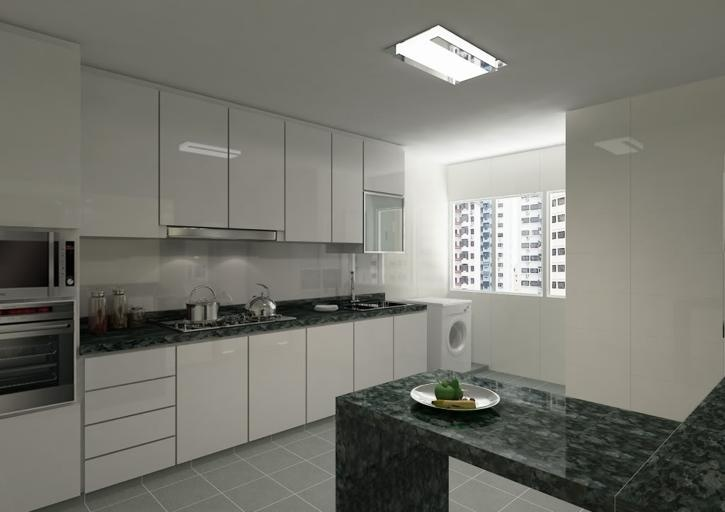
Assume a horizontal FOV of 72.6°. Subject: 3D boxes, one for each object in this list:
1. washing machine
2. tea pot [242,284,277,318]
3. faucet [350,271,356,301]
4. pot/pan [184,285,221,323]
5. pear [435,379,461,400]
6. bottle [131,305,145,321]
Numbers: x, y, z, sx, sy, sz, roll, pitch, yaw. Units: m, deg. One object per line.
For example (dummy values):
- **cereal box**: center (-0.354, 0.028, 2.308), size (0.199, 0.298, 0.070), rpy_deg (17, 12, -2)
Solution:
- **washing machine**: center (1.002, 0.973, 6.412), size (0.841, 1.189, 0.869), rpy_deg (-3, -3, 41)
- **tea pot**: center (-0.952, 0.438, 4.648), size (0.220, 0.311, 0.316), rpy_deg (3, 2, 44)
- **faucet**: center (-0.125, 0.359, 5.862), size (0.065, 0.365, 0.093), rpy_deg (2, 9, 13)
- **pot/pan**: center (-1.447, 0.442, 4.437), size (0.249, 0.336, 0.305), rpy_deg (-2, -1, -25)
- **pear**: center (0.446, 0.703, 2.627), size (0.112, 0.147, 0.105), rpy_deg (3, -12, 0)
- **bottle**: center (-1.931, 0.494, 4.233), size (0.113, 0.115, 0.104), rpy_deg (7, 8, 37)
